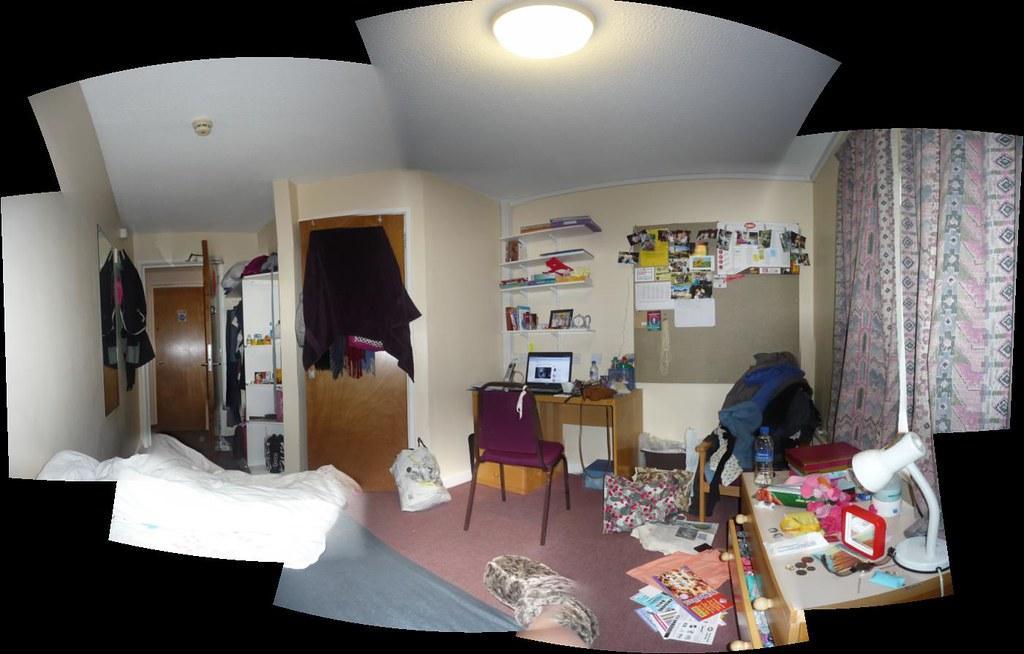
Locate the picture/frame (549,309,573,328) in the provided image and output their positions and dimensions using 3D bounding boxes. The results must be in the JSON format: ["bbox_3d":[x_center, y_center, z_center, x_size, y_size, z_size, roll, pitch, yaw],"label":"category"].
[{"bbox_3d":[0.253,-0.039,3.433,0.097,0.094,0.007,3,-15,11],"label":"picture/frame"}]

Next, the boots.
[{"bbox_3d":[0.093,0.806,2.005,0.182,0.106,0.290,9,-2,-28],"label":"boots"}]

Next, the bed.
[{"bbox_3d":[-0.347,0.703,1.943,0.646,0.249,0.503,3,8,-19],"label":"bed"}]

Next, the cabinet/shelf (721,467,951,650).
[{"bbox_3d":[0.824,0.533,1.758,0.359,0.256,0.533,0,-6,3],"label":"cabinet/shelf"}]

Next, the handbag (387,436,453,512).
[{"bbox_3d":[-0.363,0.592,2.695,0.209,0.221,0.082,-1,-30,-45],"label":"handbag"}]

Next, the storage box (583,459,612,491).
[{"bbox_3d":[0.433,0.743,3.409,0.122,0.099,0.213,1,-1,26],"label":"storage box"}]

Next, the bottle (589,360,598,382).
[{"bbox_3d":[0.434,0.225,3.551,0.051,0.113,0.036,7,8,9],"label":"bottle"}]

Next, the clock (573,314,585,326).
[{"bbox_3d":[0.344,-0.034,3.395,0.069,0.059,0.046,7,8,11],"label":"clock"}]

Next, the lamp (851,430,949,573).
[{"bbox_3d":[0.977,0.425,1.693,0.259,0.347,0.136,7,8,11],"label":"lamp"}]

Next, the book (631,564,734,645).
[{"bbox_3d":[0.510,0.829,1.991,0.262,0.072,0.308,2,8,-26],"label":"book"}]
